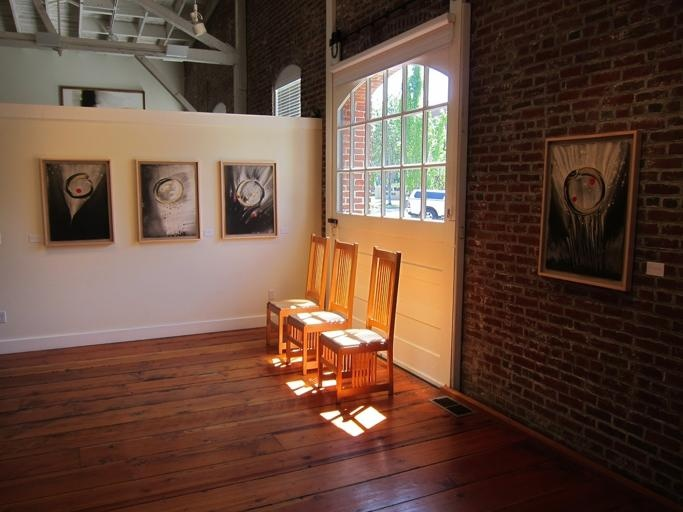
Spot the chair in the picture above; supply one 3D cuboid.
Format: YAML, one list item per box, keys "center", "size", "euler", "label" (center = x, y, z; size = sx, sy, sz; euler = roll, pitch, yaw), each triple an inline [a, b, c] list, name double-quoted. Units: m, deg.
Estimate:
- center: [-0.051, 0.696, 5.294]
  size: [0.667, 1.554, 1.526]
  euler: [0, 5, -22]
  label: "chair"
